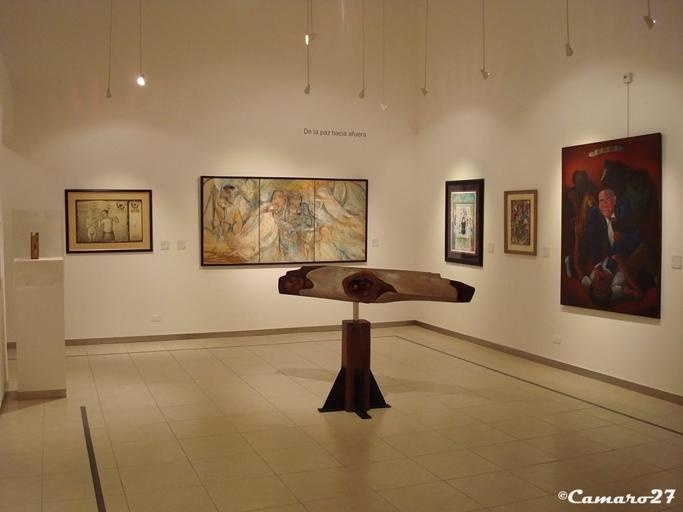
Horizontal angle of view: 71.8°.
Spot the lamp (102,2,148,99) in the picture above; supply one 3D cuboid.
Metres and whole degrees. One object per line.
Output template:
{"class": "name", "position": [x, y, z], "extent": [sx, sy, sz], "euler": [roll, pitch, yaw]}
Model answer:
{"class": "lamp", "position": [-3.882, -3.718, 8.493], "extent": [0.692, 1.793, 0.202], "euler": [-1, 1, -24]}

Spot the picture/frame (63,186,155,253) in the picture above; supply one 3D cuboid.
{"class": "picture/frame", "position": [-4.264, -0.667, 8.499], "extent": [1.063, 0.961, 0.051], "euler": [-1, 1, -22]}
